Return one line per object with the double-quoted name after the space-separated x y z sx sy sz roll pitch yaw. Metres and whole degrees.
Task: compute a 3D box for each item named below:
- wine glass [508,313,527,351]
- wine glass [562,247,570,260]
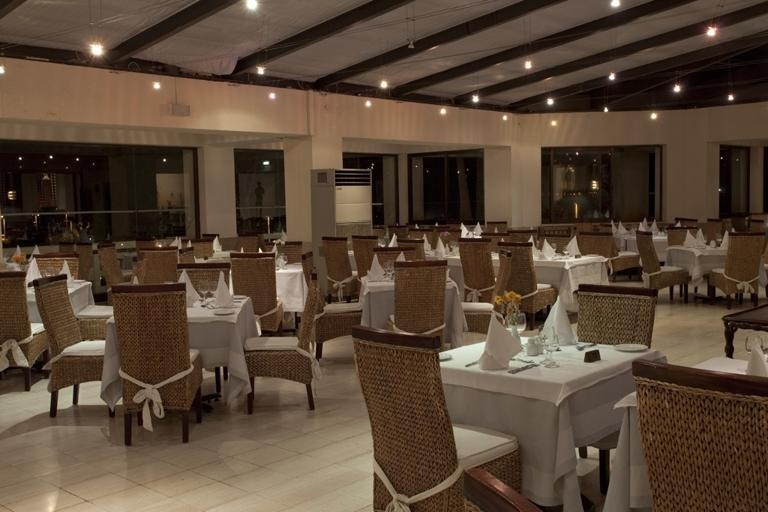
0.965 0.552 4.027 0.166 0.283 0.180 2 -3 6 "wine glass"
3.066 -0.039 9.315 0.157 0.191 0.162 -1 -2 -1 "wine glass"
